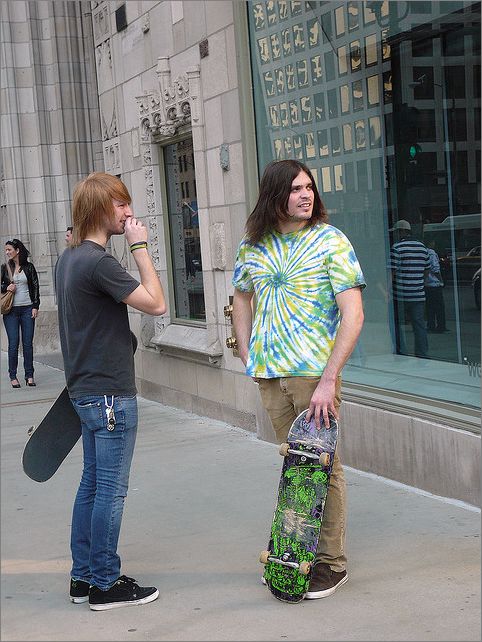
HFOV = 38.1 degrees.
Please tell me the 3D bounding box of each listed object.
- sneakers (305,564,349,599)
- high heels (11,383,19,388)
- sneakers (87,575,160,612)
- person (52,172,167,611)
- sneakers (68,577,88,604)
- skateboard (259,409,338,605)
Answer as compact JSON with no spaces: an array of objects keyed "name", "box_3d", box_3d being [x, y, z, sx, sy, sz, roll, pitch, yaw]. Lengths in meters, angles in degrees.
[{"name":"sneakers","box_3d":[0.334,1.041,2.780,0.072,0.081,0.200,-3,1,28]},{"name":"high heels","box_3d":[-3.058,0.872,9.483,0.049,0.035,0.096,2,-8,1]},{"name":"sneakers","box_3d":[-0.477,1.113,2.894,0.305,0.143,0.111,-3,0,-21]},{"name":"person","box_3d":[-0.524,0.281,2.826,0.352,1.282,0.535,-7,4,-37]},{"name":"sneakers","box_3d":[-0.683,1.125,2.931,0.047,0.061,0.141,4,4,8]},{"name":"skateboard","box_3d":[0.252,0.658,2.700,0.215,0.891,0.121,8,-5,32]}]
